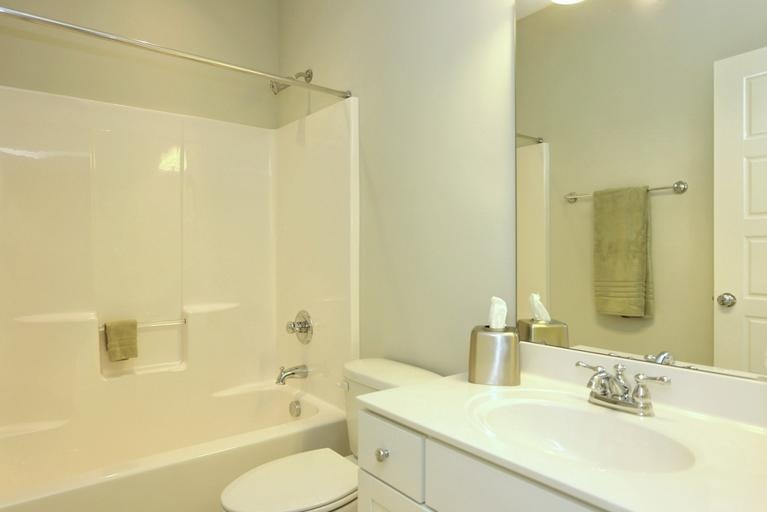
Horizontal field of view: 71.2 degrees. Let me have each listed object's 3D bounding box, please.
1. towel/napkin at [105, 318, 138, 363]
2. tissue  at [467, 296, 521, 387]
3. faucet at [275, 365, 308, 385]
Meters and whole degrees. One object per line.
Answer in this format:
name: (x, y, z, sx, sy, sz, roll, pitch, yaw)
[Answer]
towel/napkin: (-1.471, 0.478, 3.013, 0.176, 0.246, 0.089, -3, 0, -28)
tissue : (0.436, 0.328, 2.073, 0.228, 0.318, 0.145, -3, 0, -1)
faucet: (-0.539, 0.688, 3.126, 0.154, 0.069, 0.127, -3, -3, -27)
